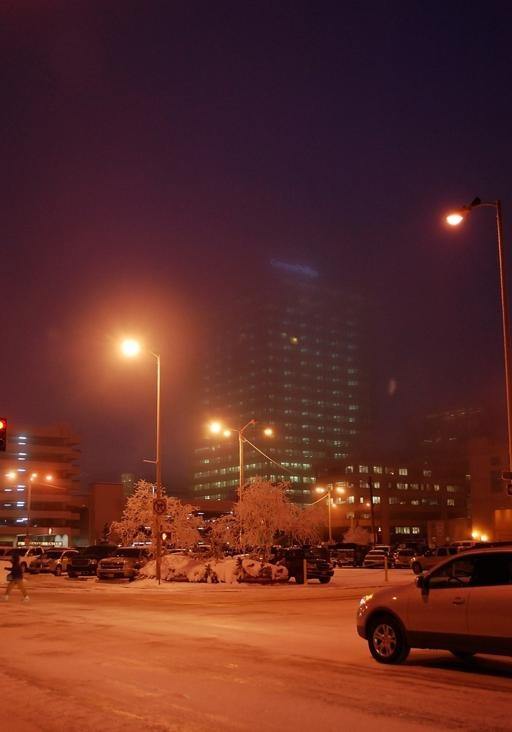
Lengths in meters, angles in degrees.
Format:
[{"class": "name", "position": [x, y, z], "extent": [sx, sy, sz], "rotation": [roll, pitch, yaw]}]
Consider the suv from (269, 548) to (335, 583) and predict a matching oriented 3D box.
[{"class": "suv", "position": [2.559, 10.364, 35.831], "extent": [3.268, 2.001, 3.804], "rotation": [1, -11, -6]}]
